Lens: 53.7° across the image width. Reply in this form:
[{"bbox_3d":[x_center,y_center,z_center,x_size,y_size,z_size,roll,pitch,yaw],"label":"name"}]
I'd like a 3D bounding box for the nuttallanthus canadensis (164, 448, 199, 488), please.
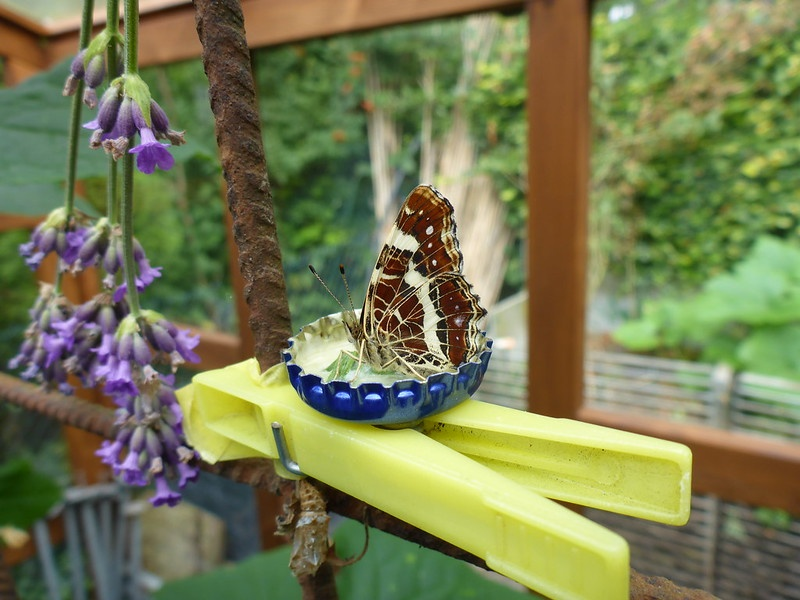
[{"bbox_3d":[-0.402,0.305,1.452,0.040,0.040,0.065,-35,40,13],"label":"nuttallanthus canadensis"}]

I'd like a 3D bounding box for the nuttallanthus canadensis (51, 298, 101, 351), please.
[{"bbox_3d":[-0.606,0.045,1.477,0.090,0.099,0.062,-4,8,-17],"label":"nuttallanthus canadensis"}]

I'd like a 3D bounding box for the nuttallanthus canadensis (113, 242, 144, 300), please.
[{"bbox_3d":[-0.498,-0.055,1.468,0.059,0.102,0.050,-5,-5,-38],"label":"nuttallanthus canadensis"}]

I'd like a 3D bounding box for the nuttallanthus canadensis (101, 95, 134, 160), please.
[{"bbox_3d":[-0.478,-0.288,1.341,0.053,0.099,0.031,-4,8,-16],"label":"nuttallanthus canadensis"}]

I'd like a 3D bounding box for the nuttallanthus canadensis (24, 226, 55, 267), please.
[{"bbox_3d":[-0.676,-0.092,1.467,0.074,0.077,0.047,2,9,24],"label":"nuttallanthus canadensis"}]

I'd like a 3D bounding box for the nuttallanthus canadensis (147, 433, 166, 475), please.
[{"bbox_3d":[-0.444,0.275,1.429,0.027,0.078,0.019,-4,8,-19],"label":"nuttallanthus canadensis"}]

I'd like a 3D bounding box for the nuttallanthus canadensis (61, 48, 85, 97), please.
[{"bbox_3d":[-0.579,-0.403,1.410,0.042,0.080,0.108,-5,9,-22],"label":"nuttallanthus canadensis"}]

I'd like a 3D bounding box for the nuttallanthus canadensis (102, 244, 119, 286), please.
[{"bbox_3d":[-0.546,-0.069,1.487,0.032,0.084,0.125,-5,9,-21],"label":"nuttallanthus canadensis"}]

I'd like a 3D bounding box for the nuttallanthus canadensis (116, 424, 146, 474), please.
[{"bbox_3d":[-0.485,0.268,1.429,0.049,0.078,0.022,-5,8,-21],"label":"nuttallanthus canadensis"}]

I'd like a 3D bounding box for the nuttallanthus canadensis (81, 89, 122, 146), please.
[{"bbox_3d":[-0.509,-0.313,1.348,0.065,0.098,0.035,20,10,-27],"label":"nuttallanthus canadensis"}]

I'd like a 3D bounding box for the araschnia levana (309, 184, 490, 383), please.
[{"bbox_3d":[0.049,-0.062,1.597,0.303,0.350,0.393,2,15,13],"label":"araschnia levana"}]

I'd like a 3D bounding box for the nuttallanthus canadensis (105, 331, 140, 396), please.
[{"bbox_3d":[-0.500,0.121,1.410,0.057,0.119,0.048,5,10,41],"label":"nuttallanthus canadensis"}]

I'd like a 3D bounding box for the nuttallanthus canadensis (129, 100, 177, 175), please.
[{"bbox_3d":[-0.425,-0.265,1.346,0.066,0.130,0.046,-18,7,-37],"label":"nuttallanthus canadensis"}]
